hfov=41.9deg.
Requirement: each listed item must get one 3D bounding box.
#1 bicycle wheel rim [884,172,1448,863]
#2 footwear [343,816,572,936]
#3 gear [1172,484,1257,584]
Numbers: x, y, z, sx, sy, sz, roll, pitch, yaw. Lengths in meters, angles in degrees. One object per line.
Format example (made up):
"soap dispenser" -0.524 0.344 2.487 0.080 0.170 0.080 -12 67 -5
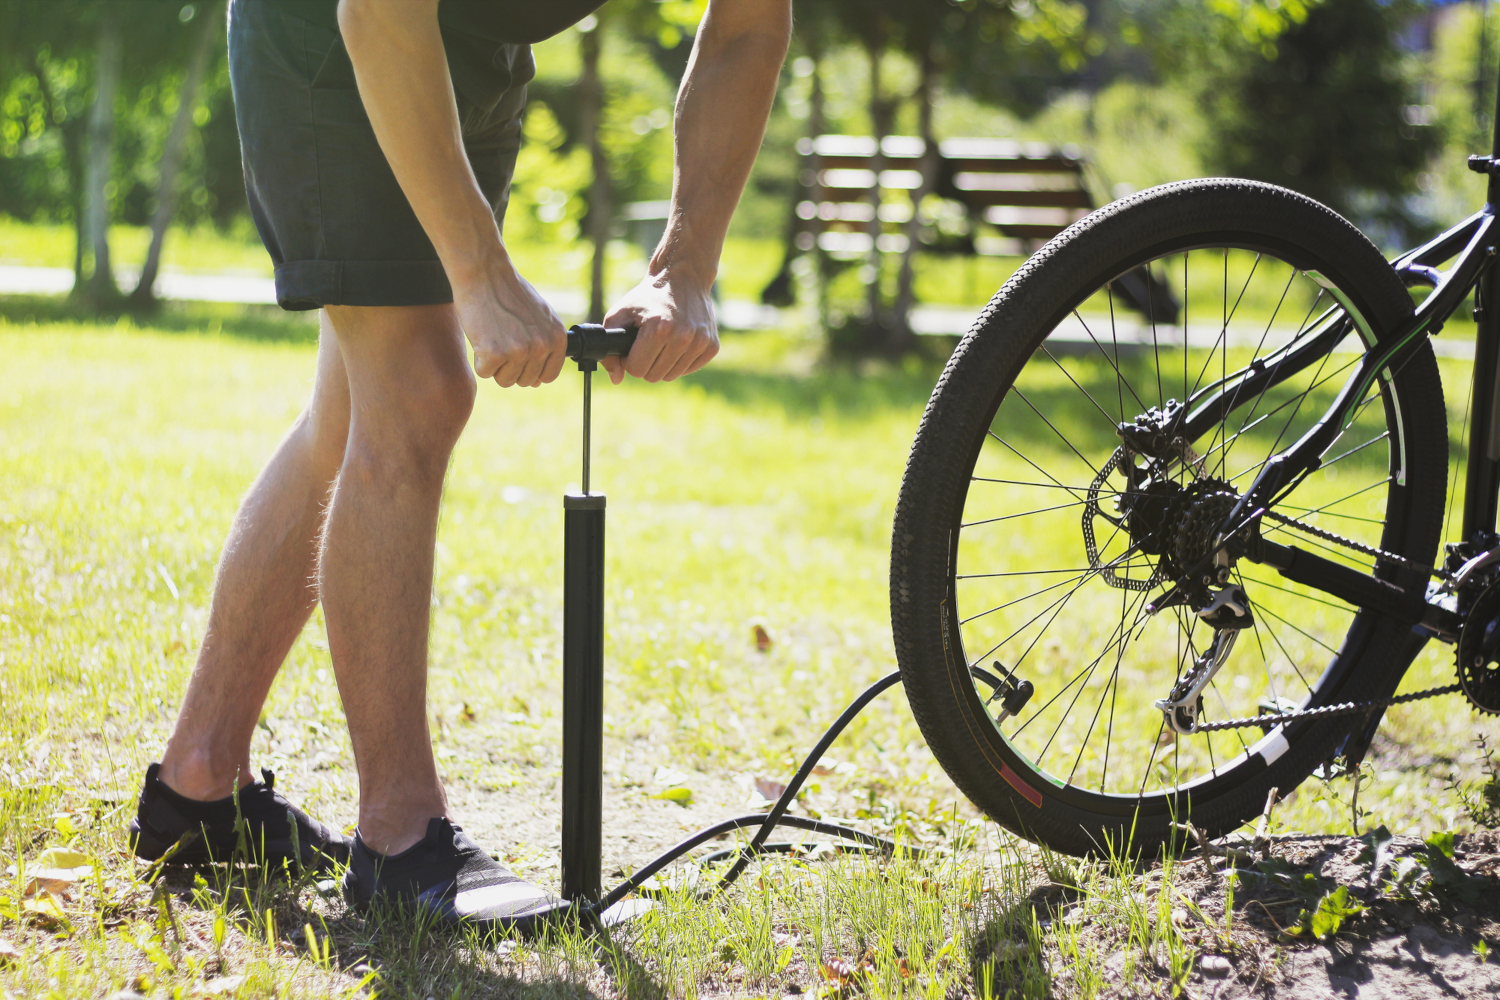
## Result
"bicycle wheel rim" 1.322 0.084 6.379 1.862 2.070 0.567 -31 12 -2
"footwear" -0.759 0.953 5.245 0.578 0.305 0.259 7 -2 2
"gear" 1.198 0.098 5.173 0.171 0.247 0.070 -4 15 -23
